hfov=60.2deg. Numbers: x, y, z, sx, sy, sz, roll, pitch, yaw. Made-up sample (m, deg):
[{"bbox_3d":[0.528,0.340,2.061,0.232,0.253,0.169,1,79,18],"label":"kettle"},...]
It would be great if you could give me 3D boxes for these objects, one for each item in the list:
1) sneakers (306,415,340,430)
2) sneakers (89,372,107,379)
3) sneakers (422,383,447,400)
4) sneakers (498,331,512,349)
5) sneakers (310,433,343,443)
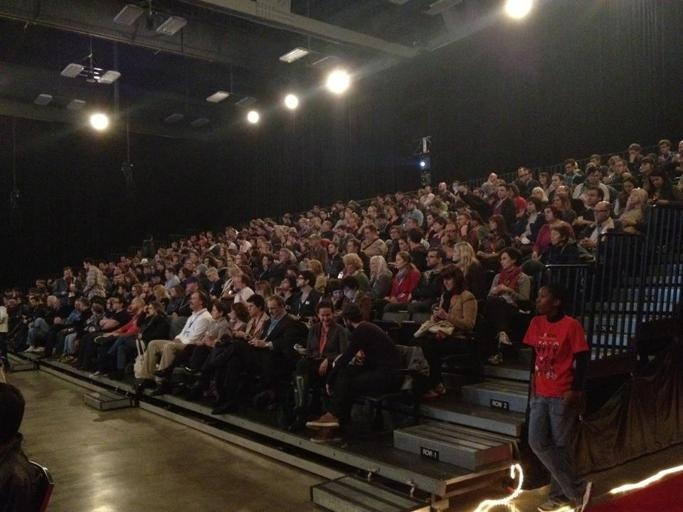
[{"bbox_3d":[-0.185,1.811,6.421,0.391,0.149,0.141,0,-47,5],"label":"sneakers"},{"bbox_3d":[-4.264,2.075,10.278,0.272,0.176,0.089,-16,-22,27],"label":"sneakers"},{"bbox_3d":[1.057,1.553,6.700,0.110,0.132,0.322,-8,-25,-37],"label":"sneakers"},{"bbox_3d":[1.964,0.983,6.995,0.242,0.204,0.091,8,-6,-43],"label":"sneakers"},{"bbox_3d":[-0.166,1.954,6.319,0.348,0.134,0.122,8,-16,-7],"label":"sneakers"}]
